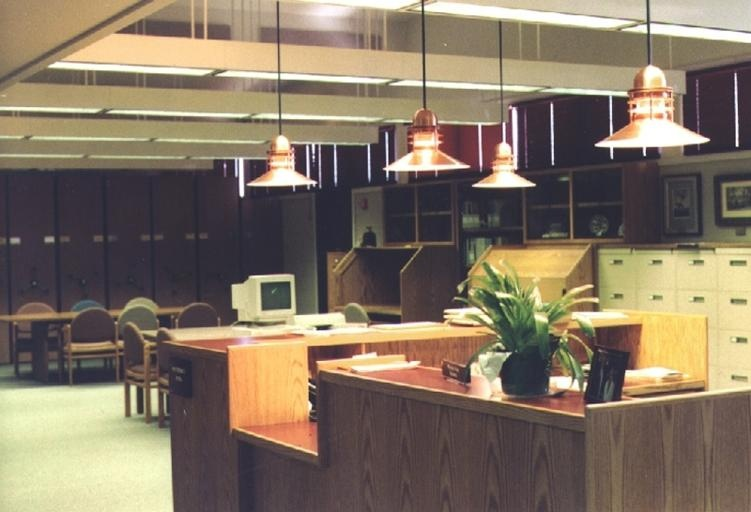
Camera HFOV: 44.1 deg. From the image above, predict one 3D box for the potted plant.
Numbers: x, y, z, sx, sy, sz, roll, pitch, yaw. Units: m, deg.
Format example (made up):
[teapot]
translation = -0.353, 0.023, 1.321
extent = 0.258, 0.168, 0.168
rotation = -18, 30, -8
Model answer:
[potted plant]
translation = 0.918, 0.458, 5.489
extent = 0.785, 0.692, 0.824
rotation = 3, 5, 32

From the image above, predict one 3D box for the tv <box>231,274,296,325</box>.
[tv]
translation = -1.157, 0.450, 9.393
extent = 0.513, 0.545, 0.524
rotation = -1, 0, 38

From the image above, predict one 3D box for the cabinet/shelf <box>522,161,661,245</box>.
[cabinet/shelf]
translation = 2.330, -0.544, 11.142
extent = 1.210, 0.817, 0.402
rotation = -3, -6, -15

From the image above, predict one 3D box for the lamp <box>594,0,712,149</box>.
[lamp]
translation = 1.725, -0.939, 5.789
extent = 0.590, 0.493, 0.272
rotation = -2, 6, 20
